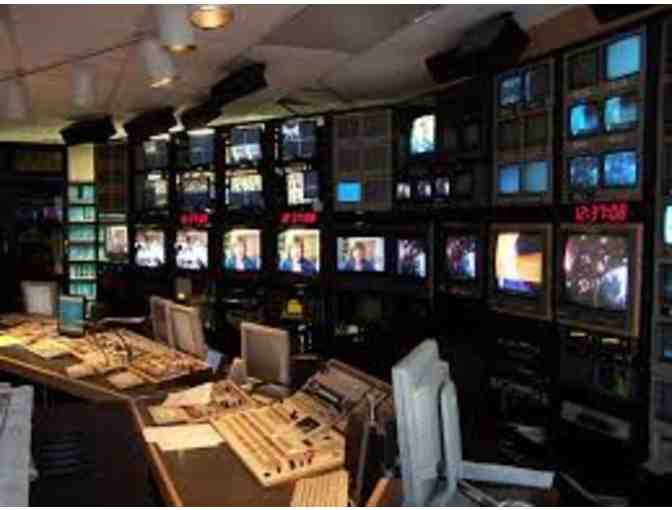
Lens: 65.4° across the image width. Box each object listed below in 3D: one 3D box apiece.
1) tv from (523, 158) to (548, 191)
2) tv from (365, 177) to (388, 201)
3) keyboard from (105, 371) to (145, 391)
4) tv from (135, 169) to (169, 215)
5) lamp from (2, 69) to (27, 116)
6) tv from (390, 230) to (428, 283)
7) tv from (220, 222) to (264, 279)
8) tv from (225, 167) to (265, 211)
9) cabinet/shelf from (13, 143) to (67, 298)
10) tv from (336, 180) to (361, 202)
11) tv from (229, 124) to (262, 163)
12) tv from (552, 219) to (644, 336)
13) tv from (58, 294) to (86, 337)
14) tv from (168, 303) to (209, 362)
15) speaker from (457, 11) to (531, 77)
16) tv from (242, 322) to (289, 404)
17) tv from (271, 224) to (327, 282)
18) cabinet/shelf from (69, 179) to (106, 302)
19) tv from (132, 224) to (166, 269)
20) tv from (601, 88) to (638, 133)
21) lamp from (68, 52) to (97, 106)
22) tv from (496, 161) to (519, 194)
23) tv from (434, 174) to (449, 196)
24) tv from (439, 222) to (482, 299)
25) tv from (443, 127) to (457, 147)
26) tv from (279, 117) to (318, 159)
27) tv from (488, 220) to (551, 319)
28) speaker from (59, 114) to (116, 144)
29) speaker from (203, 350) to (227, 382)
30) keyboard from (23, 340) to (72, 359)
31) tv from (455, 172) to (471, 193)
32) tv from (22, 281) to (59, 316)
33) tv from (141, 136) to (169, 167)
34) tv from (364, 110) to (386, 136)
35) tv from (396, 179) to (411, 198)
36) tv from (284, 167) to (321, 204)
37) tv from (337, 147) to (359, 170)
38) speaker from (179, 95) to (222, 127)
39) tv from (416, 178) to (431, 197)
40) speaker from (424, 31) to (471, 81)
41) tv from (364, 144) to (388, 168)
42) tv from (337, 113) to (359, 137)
[{"bbox_3d":[1.586,-0.626,4.152,0.150,0.268,0.274,1,-1,-27],"label":"tv"},{"bbox_3d":[0.421,-0.667,5.367,0.233,0.224,0.081,2,6,32],"label":"tv"},{"bbox_3d":[-1.603,0.934,3.946,0.186,0.069,0.359,-4,3,-43],"label":"keyboard"},{"bbox_3d":[-2.425,-0.808,6.936,0.600,0.601,0.332,2,3,42],"label":"tv"},{"bbox_3d":[-2.766,-1.339,4.511,0.163,0.313,0.155,-3,3,-27],"label":"lamp"},{"bbox_3d":[0.721,0.003,5.155,0.041,0.475,0.371,-4,3,-39],"label":"tv"},{"bbox_3d":[-1.086,-0.049,6.141,0.628,0.638,0.064,1,3,26],"label":"tv"},{"bbox_3d":[-1.052,-0.744,6.058,0.460,0.416,0.034,-1,3,23],"label":"tv"},{"bbox_3d":[-4.658,-0.579,8.325,0.825,2.267,0.456,-2,3,-13],"label":"cabinet/shelf"},{"bbox_3d":[0.125,-0.650,5.518,0.358,0.259,0.188,1,4,34],"label":"tv"},{"bbox_3d":[-1.014,-1.236,5.929,0.430,0.436,0.045,1,2,20],"label":"tv"},{"bbox_3d":[1.878,0.164,3.785,0.090,0.779,0.589,-4,3,-39],"label":"tv"},{"bbox_3d":[-2.571,0.587,5.112,0.384,0.366,0.051,3,6,33],"label":"tv"},{"bbox_3d":[-1.273,0.671,4.479,0.208,0.584,0.633,-5,-1,-37],"label":"tv"},{"bbox_3d":[1.281,-1.662,4.208,0.354,0.278,0.511,-38,18,-17],"label":"speaker"},{"bbox_3d":[-0.487,0.748,3.584,0.449,0.461,0.149,-5,-4,42],"label":"tv"},{"bbox_3d":[-0.390,-0.020,5.798,0.612,0.653,0.071,1,1,26],"label":"tv"},{"bbox_3d":[-4.355,-0.265,8.975,0.436,1.962,0.408,-3,3,-28],"label":"cabinet/shelf"},{"bbox_3d":[-2.468,-0.110,6.957,0.537,0.589,0.310,4,4,34],"label":"tv"},{"bbox_3d":[1.984,-0.989,3.661,0.030,0.259,0.223,-4,3,-43],"label":"tv"},{"bbox_3d":[-2.014,-1.371,4.171,0.192,0.405,0.240,-2,3,-15],"label":"lamp"},{"bbox_3d":[1.420,-0.626,4.338,0.049,0.250,0.202,-3,3,-29],"label":"tv"},{"bbox_3d":[0.953,-0.618,4.713,0.086,0.171,0.157,2,18,-20],"label":"tv"},{"bbox_3d":[1.102,0.047,4.699,0.089,0.630,0.488,-3,3,-30],"label":"tv"},{"bbox_3d":[1.013,-1.031,4.674,0.035,0.170,0.146,-3,3,-27],"label":"tv"},{"bbox_3d":[-0.389,-1.237,5.662,0.429,0.423,0.045,2,8,20],"label":"tv"},{"bbox_3d":[1.467,0.125,4.245,0.075,0.737,0.543,-4,3,-39],"label":"tv"},{"bbox_3d":[-3.246,-1.669,6.981,0.736,0.380,0.347,-3,-6,18],"label":"speaker"},{"bbox_3d":[-0.964,0.885,4.178,0.170,0.230,0.319,-2,2,-14],"label":"speaker"},{"bbox_3d":[-2.575,0.834,4.674,0.289,0.042,0.214,8,10,38],"label":"keyboard"},{"bbox_3d":[1.096,-0.605,4.513,0.041,0.179,0.202,-3,3,-22],"label":"tv"},{"bbox_3d":[-3.085,0.456,5.474,0.366,0.278,0.050,3,5,35],"label":"tv"},{"bbox_3d":[-2.306,-1.302,6.715,0.400,0.380,0.128,3,9,34],"label":"tv"},{"bbox_3d":[0.409,-1.329,5.354,0.262,0.255,0.143,1,2,35],"label":"tv"},{"bbox_3d":[0.654,-0.630,5.159,0.040,0.184,0.189,-3,3,-24],"label":"tv"},{"bbox_3d":[-0.355,-0.743,5.760,0.413,0.396,0.043,3,8,30],"label":"tv"},{"bbox_3d":[0.124,-0.991,5.489,0.250,0.228,0.014,-1,3,27],"label":"tv"},{"bbox_3d":[-1.528,-1.620,6.030,0.659,0.313,0.240,0,3,34],"label":"speaker"},{"bbox_3d":[0.824,-0.625,4.930,0.099,0.181,0.191,-1,2,-31],"label":"tv"},{"bbox_3d":[1.002,-1.654,4.554,0.310,0.345,0.324,33,57,29],"label":"speaker"},{"bbox_3d":[0.416,-0.994,5.365,0.254,0.245,0.108,1,0,26],"label":"tv"},{"bbox_3d":[0.122,-1.326,5.477,0.254,0.233,0.009,-1,3,25],"label":"tv"}]
